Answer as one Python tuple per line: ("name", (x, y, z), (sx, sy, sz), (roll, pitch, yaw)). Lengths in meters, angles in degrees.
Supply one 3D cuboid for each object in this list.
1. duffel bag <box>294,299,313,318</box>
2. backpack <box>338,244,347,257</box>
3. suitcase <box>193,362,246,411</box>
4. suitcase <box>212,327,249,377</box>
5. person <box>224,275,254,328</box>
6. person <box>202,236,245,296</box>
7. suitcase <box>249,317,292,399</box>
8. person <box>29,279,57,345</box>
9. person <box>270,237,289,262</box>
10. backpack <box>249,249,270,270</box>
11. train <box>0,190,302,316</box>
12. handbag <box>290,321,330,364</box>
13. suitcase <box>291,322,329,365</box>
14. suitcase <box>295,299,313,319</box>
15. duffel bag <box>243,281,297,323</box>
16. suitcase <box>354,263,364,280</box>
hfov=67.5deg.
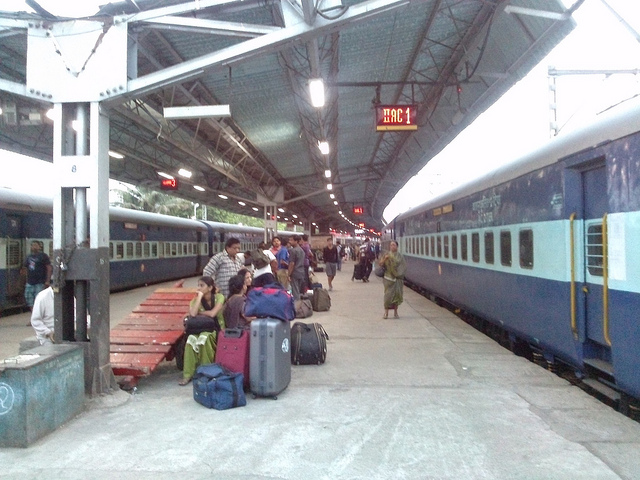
("duffel bag", (-0.421, 1.688, 12.468), (0.479, 0.292, 0.669), (0, 6, 3))
("backpack", (1.710, 0.539, 35.548), (0.622, 1.283, 0.337), (-4, -5, 2))
("suitcase", (-1.368, 1.976, 6.440), (0.708, 0.527, 0.356), (-1, 3, -4))
("suitcase", (-1.262, 1.556, 6.939), (0.510, 0.893, 0.519), (3, 22, -15))
("person", (-1.248, 0.987, 7.677), (0.533, 0.848, 0.544), (5, 11, 2))
("person", (-1.700, 0.525, 8.670), (0.222, 0.871, 0.593), (14, -8, 22))
("suitcase", (-0.694, 1.650, 6.780), (0.629, 1.106, 0.424), (-2, 3, -20))
("person", (-4.238, 1.127, 7.298), (0.282, 0.856, 0.315), (-3, 4, -35))
("person", (-1.018, 0.231, 12.607), (0.390, 0.564, 0.838), (-1, 3, -14))
("backpack", (-1.357, 0.428, 10.843), (0.312, 0.442, 0.234), (-35, 1, -23))
("train", (-5.986, 0.608, 26.469), (2.887, 4.579, 27.829), (-1, -1, 14))
("handbag", (-0.197, 1.699, 8.276), (0.625, 0.706, 0.641), (-1, 30, -18))
("suitcase", (-0.306, 1.798, 8.463), (0.715, 0.830, 0.804), (1, -1, -14))
("suitcase", (-0.389, 1.789, 12.400), (0.519, 0.204, 0.397), (-34, 25, -33))
("duffel bag", (-0.688, 0.889, 7.004), (0.626, 0.524, 0.526), (4, 4, 11))
("suitcase", (1.805, 1.443, 22.094), (0.429, 0.789, 0.710), (0, 3, 4))
